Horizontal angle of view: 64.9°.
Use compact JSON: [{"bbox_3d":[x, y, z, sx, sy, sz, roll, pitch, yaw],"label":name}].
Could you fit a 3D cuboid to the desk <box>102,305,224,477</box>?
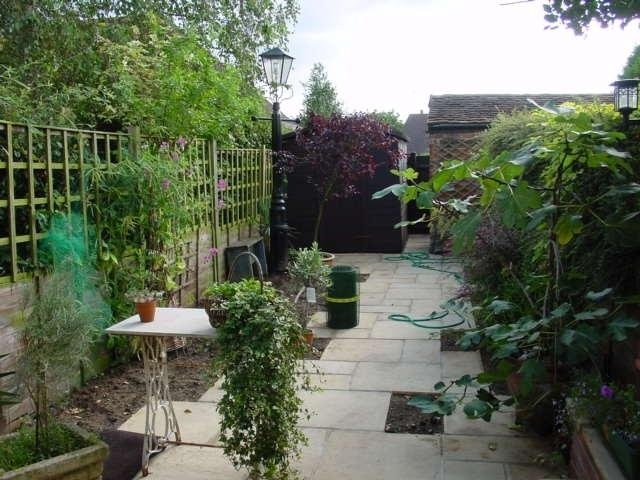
[{"bbox_3d":[-1.156,1.008,4.034,1.053,1.236,1.064,0,2,22],"label":"desk"}]
